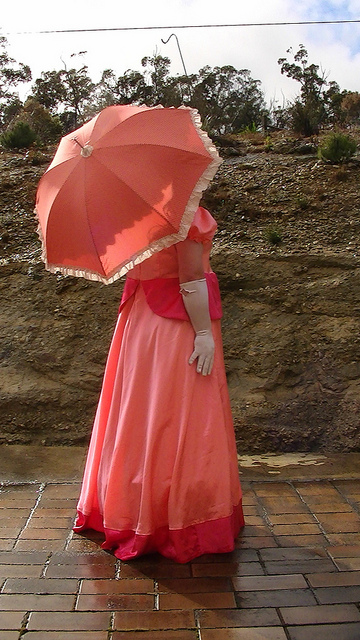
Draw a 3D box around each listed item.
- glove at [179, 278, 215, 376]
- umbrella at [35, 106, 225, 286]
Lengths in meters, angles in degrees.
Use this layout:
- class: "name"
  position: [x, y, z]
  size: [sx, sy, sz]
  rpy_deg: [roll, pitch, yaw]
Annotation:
- class: "glove"
  position: [0.071, 0.026, 2.150]
  size: [0.145, 0.399, 0.074]
  rpy_deg: [1, 5, 2]
- class: "umbrella"
  position: [-0.087, -0.384, 2.046]
  size: [0.683, 0.682, 0.278]
  rpy_deg: [45, 11, 34]
